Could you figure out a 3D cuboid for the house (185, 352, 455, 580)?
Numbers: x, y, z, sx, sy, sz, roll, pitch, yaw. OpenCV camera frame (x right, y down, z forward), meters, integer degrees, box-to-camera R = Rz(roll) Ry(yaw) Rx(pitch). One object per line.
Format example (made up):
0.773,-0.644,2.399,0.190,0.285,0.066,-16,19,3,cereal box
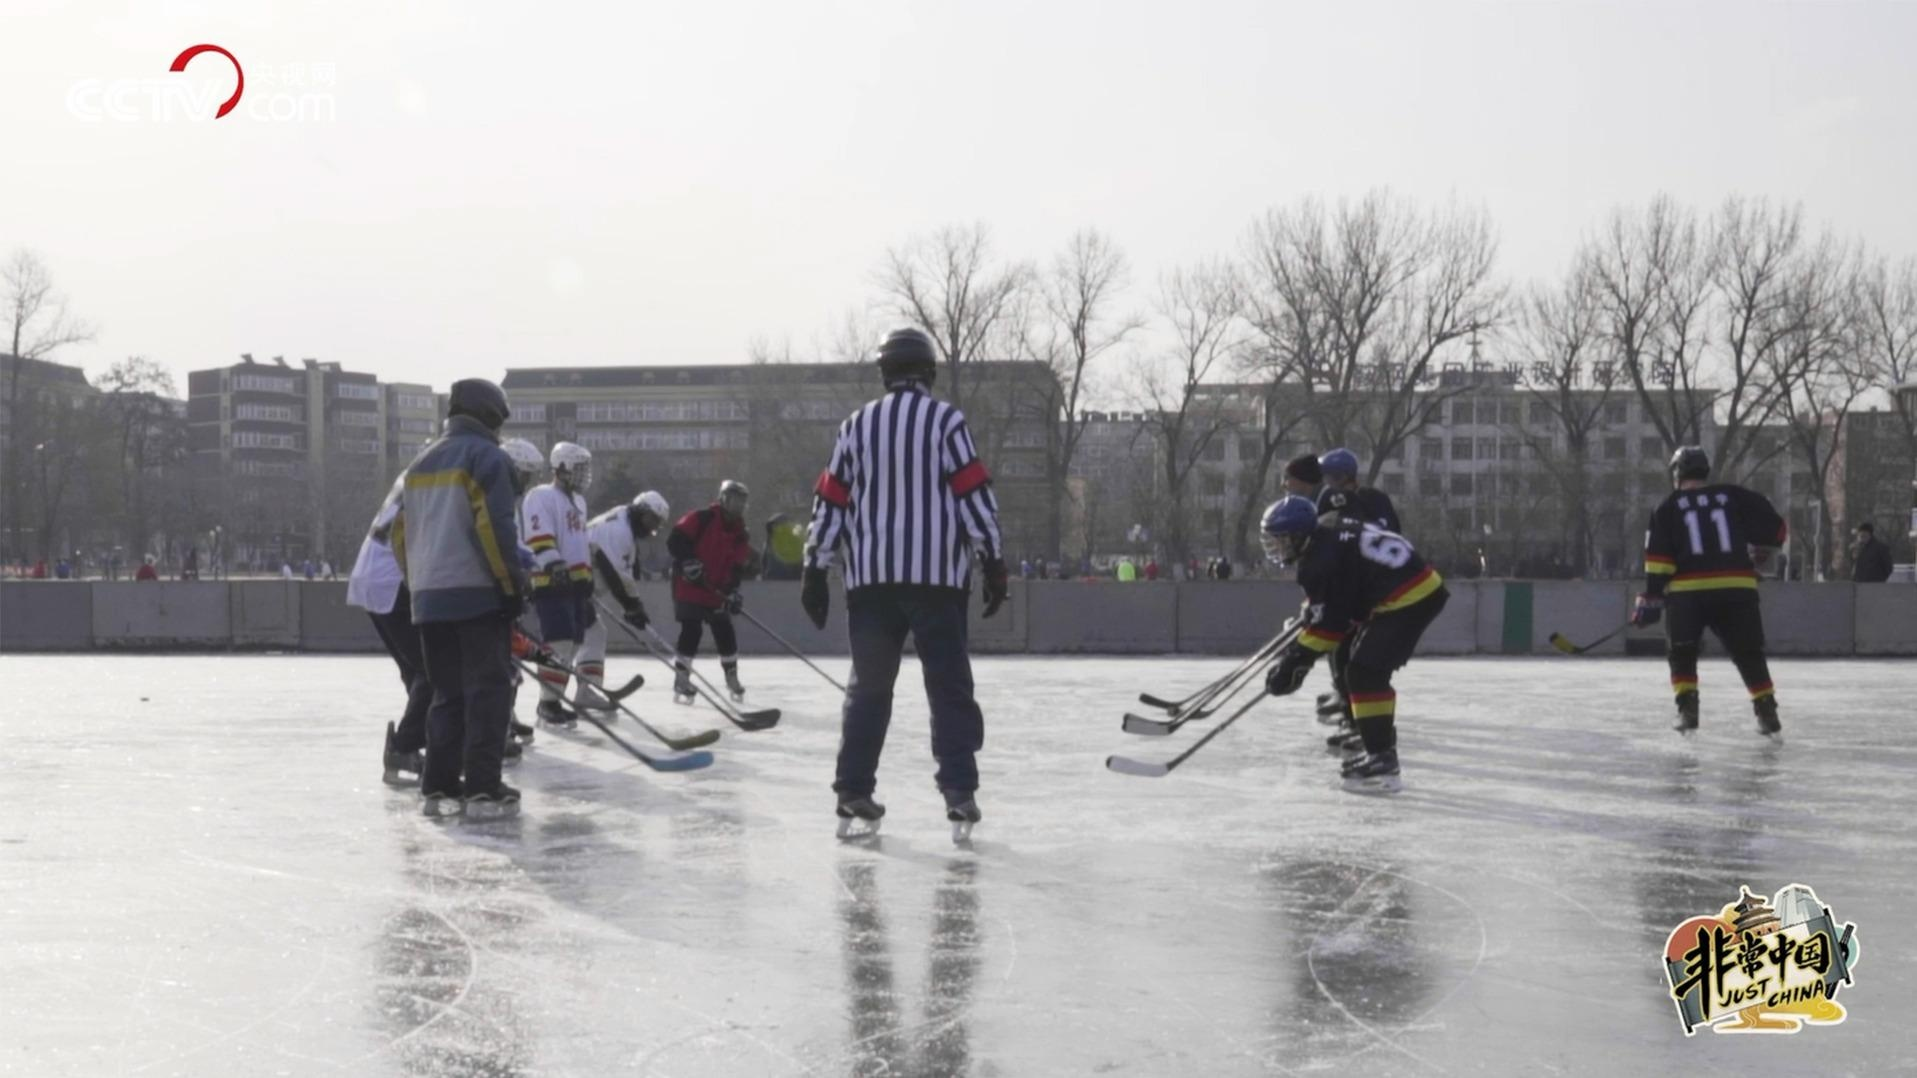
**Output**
-36.317,-4.819,136.416,5.396,9.051,10.266,-2,-1,42,house

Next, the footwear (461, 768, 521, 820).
-4.443,2.448,23.130,0.613,0.398,0.318,-4,4,-25,footwear

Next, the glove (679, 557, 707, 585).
-3.163,0.349,28.419,0.235,0.233,0.305,-2,-8,-35,glove

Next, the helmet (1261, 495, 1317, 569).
3.357,-0.127,24.263,0.529,0.663,0.575,0,0,9,helmet

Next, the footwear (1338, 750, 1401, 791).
4.104,2.251,23.887,0.574,0.385,0.451,0,0,7,footwear

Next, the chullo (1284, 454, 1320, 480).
3.767,-0.791,26.342,0.370,0.266,0.266,-19,17,-13,chullo

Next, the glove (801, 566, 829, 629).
-1.340,0.531,22.807,0.339,0.558,0.233,1,5,15,glove

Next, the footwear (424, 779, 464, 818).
-4.968,2.443,23.062,0.350,0.340,0.264,0,0,-29,footwear

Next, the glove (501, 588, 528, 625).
-4.286,0.617,23.118,0.218,0.280,0.084,9,16,-8,glove

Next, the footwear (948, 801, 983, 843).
0.045,2.600,22.462,0.361,0.415,0.258,1,15,2,footwear

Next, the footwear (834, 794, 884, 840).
-0.931,2.572,22.609,0.446,0.383,0.377,0,0,-6,footwear

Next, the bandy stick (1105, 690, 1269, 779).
2.446,2.067,25.617,0.057,0.346,2.202,-22,-6,42,bandy stick

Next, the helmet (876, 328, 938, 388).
-0.498,-1.741,22.869,0.512,0.547,0.607,1,18,2,helmet

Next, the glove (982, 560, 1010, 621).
0.325,0.419,22.745,0.202,0.530,0.447,1,0,4,glove

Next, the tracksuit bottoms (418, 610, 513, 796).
-4.756,1.561,23.100,0.841,1.745,0.308,0,0,-9,tracksuit bottoms
